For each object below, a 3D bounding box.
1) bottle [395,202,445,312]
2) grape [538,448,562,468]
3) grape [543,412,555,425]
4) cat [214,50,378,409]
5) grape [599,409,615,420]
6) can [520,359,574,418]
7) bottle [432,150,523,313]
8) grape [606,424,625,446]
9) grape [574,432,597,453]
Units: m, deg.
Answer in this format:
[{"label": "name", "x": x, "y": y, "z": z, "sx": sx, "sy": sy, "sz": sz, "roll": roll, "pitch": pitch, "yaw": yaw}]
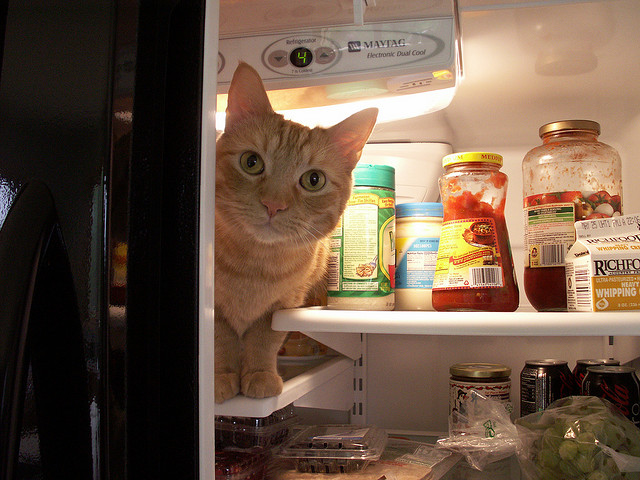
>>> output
[{"label": "bottle", "x": 0.193, "y": 0.031, "z": 1.078, "sx": 0.128, "sy": 0.192, "sz": 0.123, "roll": 0, "pitch": 2, "yaw": 0}, {"label": "grape", "x": 0.378, "y": 0.361, "z": 0.868, "sx": 0.030, "sy": 0.028, "sz": 0.009, "roll": -3, "pitch": -14, "yaw": 44}, {"label": "grape", "x": 0.398, "y": 0.314, "z": 0.917, "sx": 0.018, "sy": 0.016, "sz": 0.017, "roll": -7, "pitch": -14, "yaw": 23}, {"label": "cat", "x": -0.047, "y": -0.001, "z": 0.853, "sx": 0.251, "sy": 0.511, "sz": 0.164, "roll": 3, "pitch": -12, "yaw": -21}, {"label": "grape", "x": 0.475, "y": 0.289, "z": 0.871, "sx": 0.017, "sy": 0.016, "sz": 0.016, "roll": -3, "pitch": -9, "yaw": 23}, {"label": "can", "x": 0.424, "y": 0.277, "z": 1.009, "sx": 0.069, "sy": 0.120, "sz": 0.082, "roll": 0, "pitch": -5, "yaw": -5}, {"label": "bottle", "x": 0.261, "y": -0.012, "z": 0.922, "sx": 0.144, "sy": 0.276, "sz": 0.073, "roll": -4, "pitch": -12, "yaw": 14}, {"label": "grape", "x": 0.470, "y": 0.314, "z": 0.841, "sx": 0.029, "sy": 0.028, "sz": 0.029, "roll": 2, "pitch": -12, "yaw": -6}, {"label": "grape", "x": 0.424, "y": 0.325, "z": 0.841, "sx": 0.009, "sy": 0.028, "sz": 0.030, "roll": 31, "pitch": -22, "yaw": -33}]
